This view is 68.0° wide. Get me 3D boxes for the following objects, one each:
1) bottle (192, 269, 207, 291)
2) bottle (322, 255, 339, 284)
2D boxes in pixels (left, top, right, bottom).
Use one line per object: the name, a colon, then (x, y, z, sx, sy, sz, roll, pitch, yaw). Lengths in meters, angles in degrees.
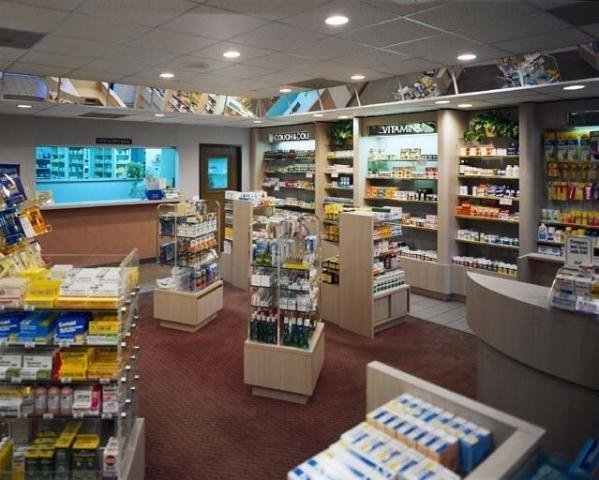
bottle: (-1.603, 0.636, 7.029, 0.103, 0.347, 0.348, 1, 2, 17)
bottle: (0.513, 0.506, 7.307, 0.348, 0.403, 0.375, 2, -3, -30)
